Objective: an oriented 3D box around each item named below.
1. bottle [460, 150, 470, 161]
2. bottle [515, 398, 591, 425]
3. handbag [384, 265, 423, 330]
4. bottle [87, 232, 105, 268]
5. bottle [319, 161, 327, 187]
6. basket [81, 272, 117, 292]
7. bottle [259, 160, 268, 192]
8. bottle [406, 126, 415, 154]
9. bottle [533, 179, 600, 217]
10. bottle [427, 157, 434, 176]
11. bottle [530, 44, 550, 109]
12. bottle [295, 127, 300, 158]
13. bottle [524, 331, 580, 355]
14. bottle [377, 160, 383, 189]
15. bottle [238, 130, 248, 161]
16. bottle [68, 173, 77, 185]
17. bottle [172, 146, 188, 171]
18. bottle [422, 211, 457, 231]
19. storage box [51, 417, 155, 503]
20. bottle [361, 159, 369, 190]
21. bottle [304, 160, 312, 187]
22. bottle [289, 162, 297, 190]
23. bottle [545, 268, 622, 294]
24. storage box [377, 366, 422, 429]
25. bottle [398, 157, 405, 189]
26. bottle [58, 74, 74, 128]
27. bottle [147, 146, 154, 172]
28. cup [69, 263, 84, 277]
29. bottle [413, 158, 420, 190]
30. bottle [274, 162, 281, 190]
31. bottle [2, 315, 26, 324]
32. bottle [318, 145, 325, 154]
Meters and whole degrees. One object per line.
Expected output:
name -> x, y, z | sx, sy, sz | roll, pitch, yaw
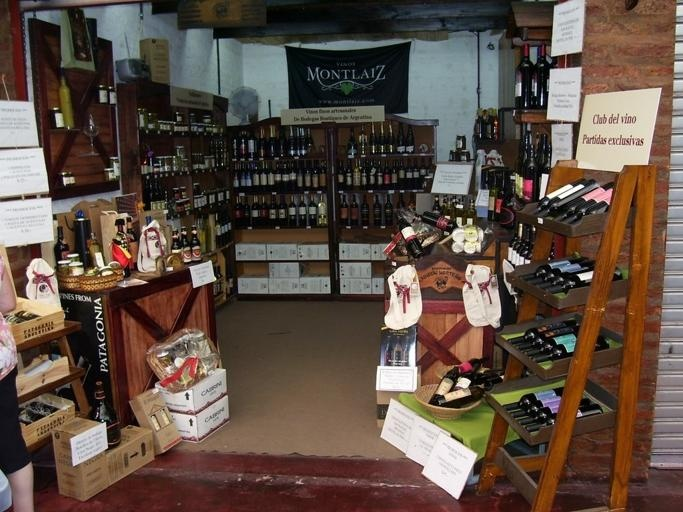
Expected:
bottle -> 1.854, -1.509, 7.791 | 0.141, 0.147, 0.265 | 0, 12, 12
bottle -> 1.125, 0.826, 2.739 | 0.186, 0.056, 0.182 | 0, 8, 0
handbag -> 0.492, 0.341, 4.058 | 0.328, 0.475, 0.124 | 3, 12, 17
bottle -> -1.976, -0.034, 4.166 | 0.115, 0.282, 0.416 | -8, 13, -25
bottle -> -0.285, -1.187, 7.682 | 0.101, 0.344, 0.235 | -3, 12, 0
basket -> -1.822, 0.193, 3.911 | 0.286, 0.119, 0.134 | -9, 13, -29
bottle -> -1.159, -1.118, 7.695 | 0.119, 0.331, 0.092 | 5, 14, 32
bottle -> 1.004, -1.681, 7.573 | 0.130, 0.375, 0.313 | -1, 12, 8
bottle -> 1.253, -0.314, 2.855 | 0.316, 0.071, 0.088 | -22, 7, -10
bottle -> 1.326, -1.326, 7.706 | 0.098, 0.255, 0.364 | -1, 12, 10
bottle -> 1.533, -1.373, 3.971 | 0.132, 0.435, 0.137 | -3, 12, 1
bottle -> -0.642, -1.657, 7.602 | 0.101, 0.413, 0.186 | -4, 12, -4
bottle -> 1.131, 0.462, 2.780 | 0.214, 0.069, 0.115 | -1, 9, -14
bottle -> 0.564, -1.159, 7.624 | 0.085, 0.304, 0.180 | -2, 12, 5
bottle -> -1.458, -1.628, 7.691 | 0.139, 0.418, 0.240 | -3, 12, -3
bottle -> -2.509, -0.712, 4.809 | 0.041, 0.088, 0.232 | -7, 12, -19
bottle -> -1.995, -1.181, 6.326 | 0.130, 0.321, 0.298 | -2, 12, 4
bottle -> 0.867, -0.303, 4.606 | 0.231, 0.139, 0.414 | -6, 12, -14
storage box -> -1.595, 1.360, 3.411 | 0.145, 0.310, 0.457 | 2, 8, 22
bottle -> 0.349, -1.193, 7.654 | 0.130, 0.417, 0.265 | -2, 12, 3
bottle -> -0.508, -1.205, 7.703 | 0.122, 0.376, 0.227 | -3, 12, -3
bottle -> -0.726, -1.128, 7.665 | 0.135, 0.338, 0.088 | -10, 14, -29
bottle -> 1.285, 0.092, 2.741 | 0.454, 0.136, 0.128 | -11, 15, -38
storage box -> 0.431, 1.111, 4.035 | 0.351, 0.520, 0.300 | -1, 12, 8
bottle -> 0.877, -1.135, 7.571 | 0.108, 0.334, 0.105 | -3, 12, 1
bottle -> -2.511, -1.388, 4.709 | 0.096, 0.469, 0.199 | -7, 13, -19
bottle -> -2.154, -1.085, 5.843 | 0.058, 0.270, 0.489 | -7, 12, -19
cup -> -2.026, 0.108, 3.984 | 0.101, 0.097, 0.099 | 1, 1, 0
bottle -> 1.092, -1.128, 7.560 | 0.077, 0.326, 0.110 | 3, 13, 24
bottle -> -0.947, -1.129, 7.662 | 0.120, 0.300, 0.073 | -3, 12, 1
bottle -> -2.143, 0.417, 3.382 | 0.099, 0.025, 0.090 | -5, 21, -39
bottle -> -0.296, -1.548, 7.638 | 0.108, 0.128, 0.169 | -3, 12, -3
